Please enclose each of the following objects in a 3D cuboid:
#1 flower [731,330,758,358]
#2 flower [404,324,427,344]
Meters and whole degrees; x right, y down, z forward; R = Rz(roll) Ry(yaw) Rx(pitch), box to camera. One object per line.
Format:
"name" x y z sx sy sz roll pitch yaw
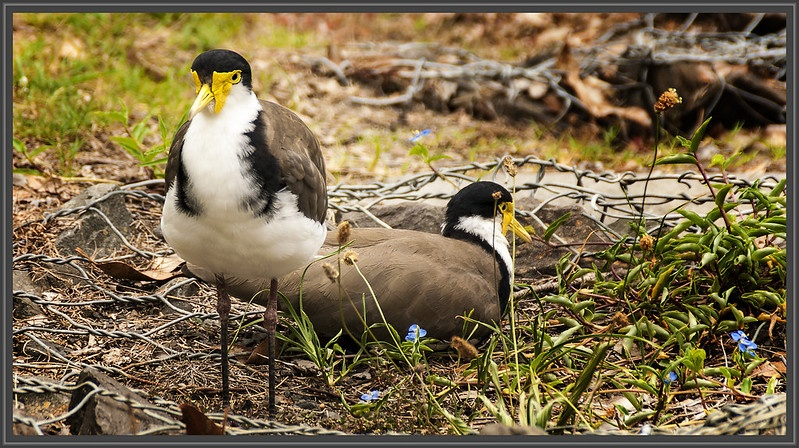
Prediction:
"flower" 2.663 0.926 6.540 0.210 0.121 0.445 -10 -20 15
"flower" 0.145 0.868 6.581 0.167 0.075 0.158 -24 48 -33
